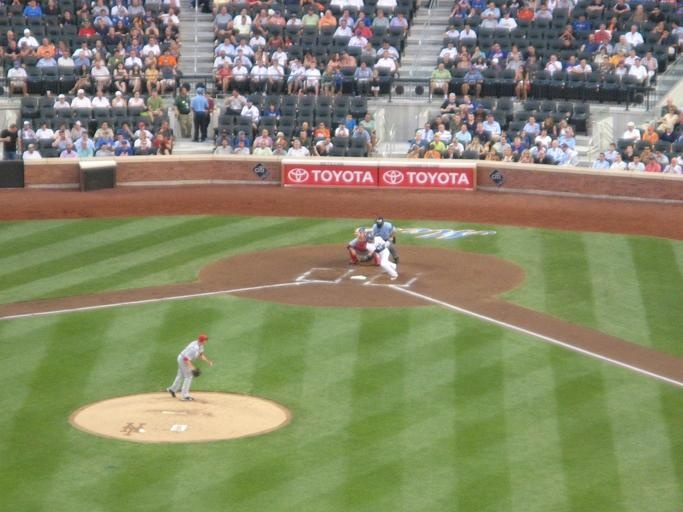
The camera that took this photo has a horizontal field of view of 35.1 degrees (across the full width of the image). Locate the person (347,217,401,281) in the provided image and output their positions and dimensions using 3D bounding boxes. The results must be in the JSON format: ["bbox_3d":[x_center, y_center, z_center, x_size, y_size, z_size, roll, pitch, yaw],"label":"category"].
[{"bbox_3d":[0.909,-0.190,28.560,1.513,1.076,1.714,20,23,28],"label":"person"}]

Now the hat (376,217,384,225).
[{"bbox_3d":[1.037,-0.962,28.596,0.172,0.164,0.200,1,-10,2],"label":"hat"}]

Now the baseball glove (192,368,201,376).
[{"bbox_3d":[-2.995,2.406,22.518,0.164,0.093,0.150,0,2,-9],"label":"baseball glove"}]

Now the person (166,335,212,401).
[{"bbox_3d":[-3.270,2.326,22.935,0.801,1.651,1.085,-3,23,-10],"label":"person"}]

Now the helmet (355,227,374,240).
[{"bbox_3d":[0.645,-0.626,28.455,0.450,0.307,0.353,1,22,-2],"label":"helmet"}]
